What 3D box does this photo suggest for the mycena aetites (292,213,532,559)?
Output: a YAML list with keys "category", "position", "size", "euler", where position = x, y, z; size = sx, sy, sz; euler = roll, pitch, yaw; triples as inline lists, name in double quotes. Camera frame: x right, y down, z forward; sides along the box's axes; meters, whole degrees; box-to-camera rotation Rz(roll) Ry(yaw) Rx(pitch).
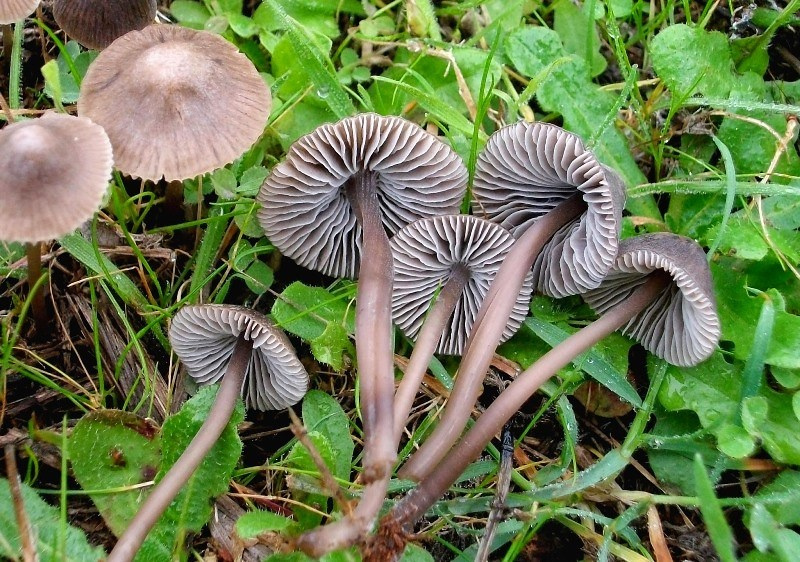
- category: "mycena aetites"
  position: [0.054, 0.404, 2.609]
  size: [0.597, 0.568, 1.059]
  euler: [41, 40, -19]
